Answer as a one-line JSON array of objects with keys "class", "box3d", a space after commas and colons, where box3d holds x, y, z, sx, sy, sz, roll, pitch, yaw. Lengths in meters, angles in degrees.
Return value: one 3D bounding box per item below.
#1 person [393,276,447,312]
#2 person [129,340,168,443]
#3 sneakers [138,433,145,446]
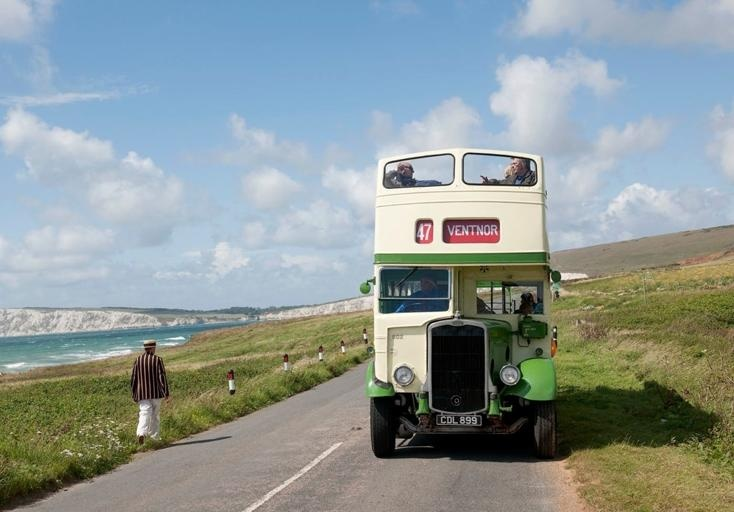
[{"class": "person", "box3d": [1.233, 0.840, 11.820, 0.719, 0.800, 0.199, 3, 2, 12]}, {"class": "person", "box3d": [-5.987, 3.698, 14.323, 0.869, 2.671, 0.523, -2, -4, -26]}, {"class": "sneakers", "box3d": [-6.075, 4.930, 13.999, 0.082, 0.229, 0.403, 3, -6, -13]}]
